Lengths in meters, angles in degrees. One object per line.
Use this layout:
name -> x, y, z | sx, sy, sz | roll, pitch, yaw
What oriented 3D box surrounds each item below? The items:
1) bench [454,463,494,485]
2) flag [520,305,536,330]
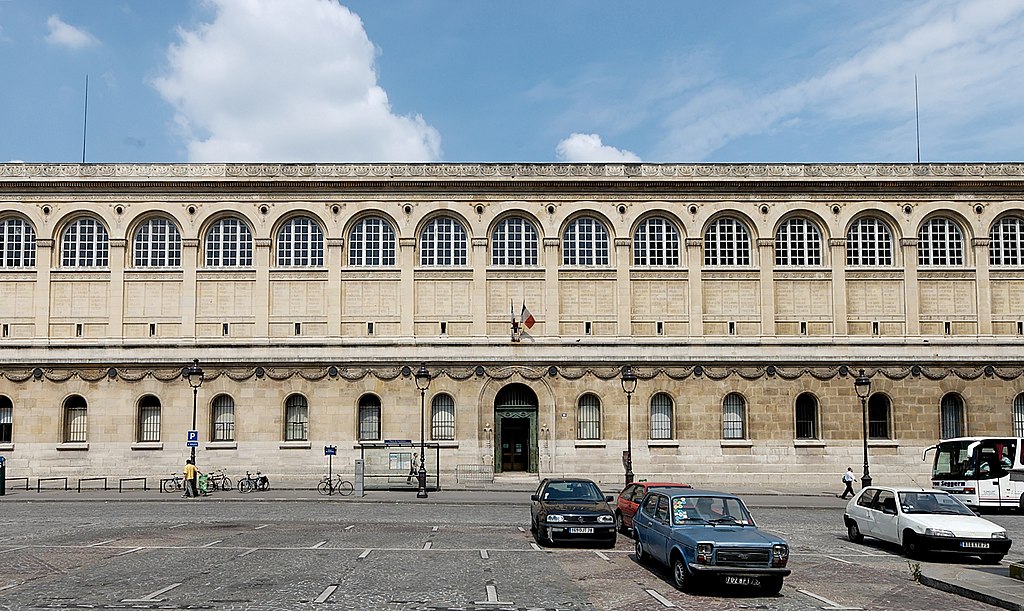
bench -> -2.558, 10.733, 90.458 | 2.467, 1.150, 0.785 | -2, -8, -3
flag -> 0.853, 0.741, 91.783 | 0.931, 1.515, 1.115 | -3, -8, -1
